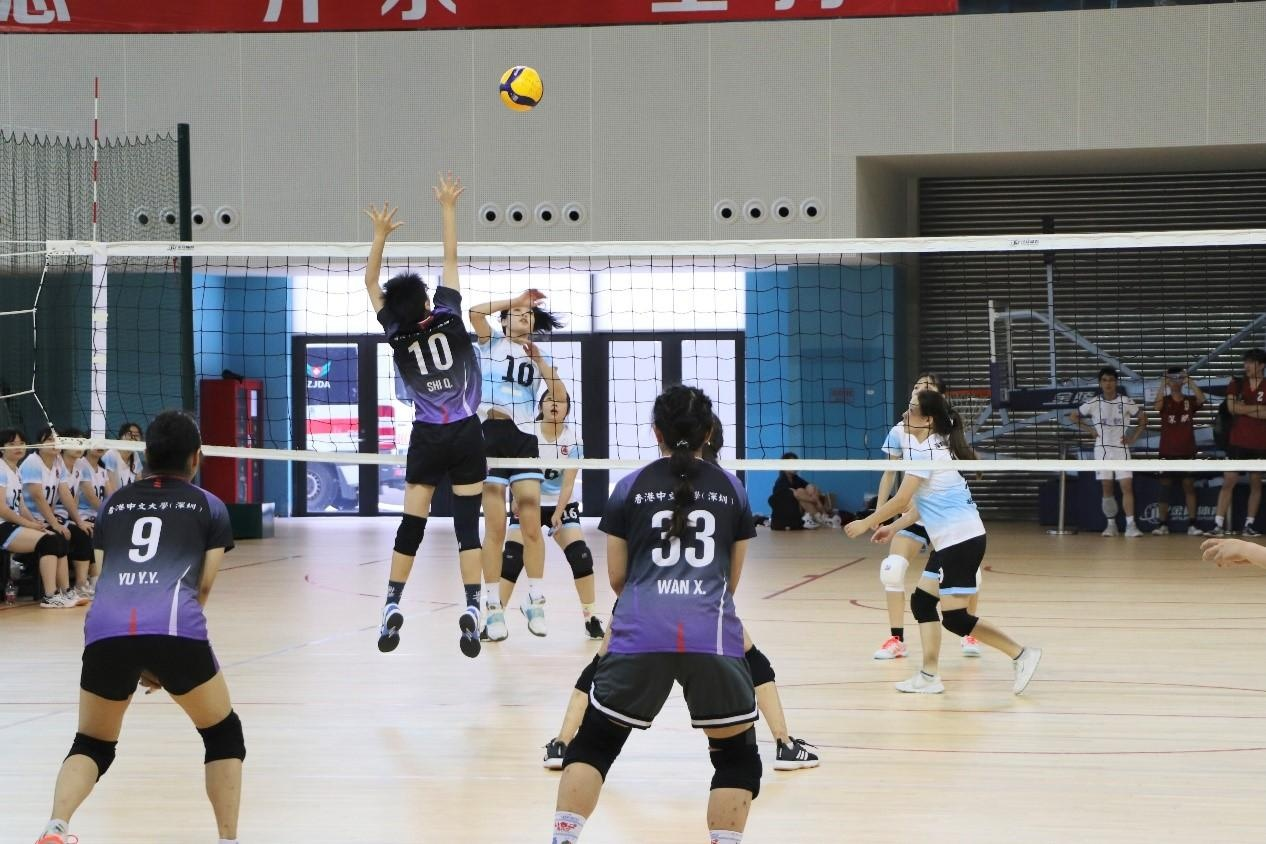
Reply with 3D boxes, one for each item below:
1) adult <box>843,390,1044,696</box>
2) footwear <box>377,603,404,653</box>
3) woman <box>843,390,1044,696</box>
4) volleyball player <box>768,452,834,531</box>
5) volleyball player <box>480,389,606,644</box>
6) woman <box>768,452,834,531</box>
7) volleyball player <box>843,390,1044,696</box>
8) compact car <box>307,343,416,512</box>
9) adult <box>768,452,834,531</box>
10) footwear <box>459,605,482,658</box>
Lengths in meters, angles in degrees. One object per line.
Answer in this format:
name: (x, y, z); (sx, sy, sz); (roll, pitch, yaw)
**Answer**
adult: (2.222, 0.858, 10.981); (1.195, 2.129, 0.721); (0, 4, 5)
footwear: (-1.689, 1.465, 10.875); (0.147, 0.362, 0.390); (-1, 4, -10)
woman: (2.221, 0.859, 10.973); (1.196, 2.129, 0.705); (0, 4, 5)
volleyball player: (2.082, 0.839, 18.971); (0.824, 0.960, 0.572); (-9, 3, 41)
volleyball player: (-0.649, 0.749, 12.319); (1.017, 2.075, 1.027); (5, 17, 5)
woman: (2.090, 0.833, 18.948); (0.832, 0.946, 0.572); (-11, 4, 43)
volleyball player: (2.221, 0.859, 10.970); (1.196, 2.129, 0.699); (0, 4, 5)
compact car: (-3.596, 0.093, 20.815); (1.964, 2.696, 0.220); (0, -30, -6)
adult: (2.082, 0.843, 18.964); (0.822, 0.953, 0.597); (-10, 2, 29)
footwear: (-1.134, 1.532, 10.905); (0.155, 0.436, 0.194); (0, 22, 1)
